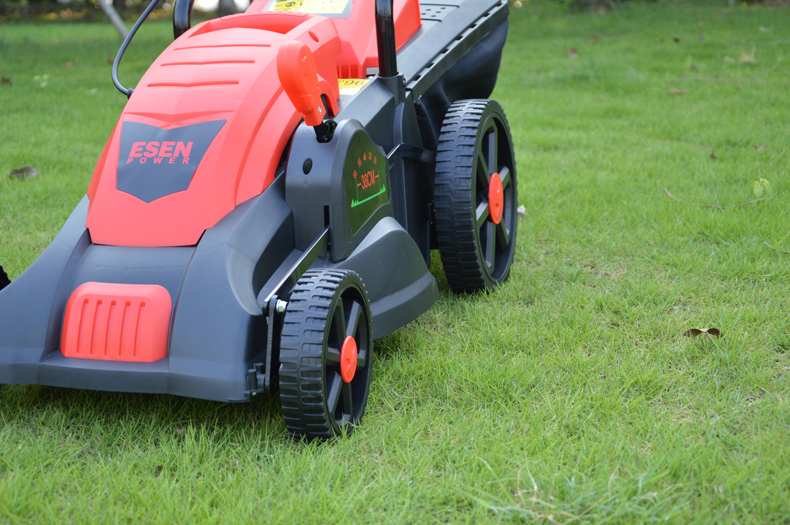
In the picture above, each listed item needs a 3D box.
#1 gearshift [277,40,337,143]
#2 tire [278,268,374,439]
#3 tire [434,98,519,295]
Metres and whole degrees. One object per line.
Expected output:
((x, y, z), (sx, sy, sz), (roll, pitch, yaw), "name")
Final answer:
((-0.279, -0.617, 3.083), (0.124, 0.371, 0.347), (8, 25, 19), "gearshift")
((-0.232, 0.308, 2.979), (0.262, 0.524, 0.381), (3, 23, 7), "tire")
((0.348, -0.281, 3.821), (0.185, 0.860, 0.711), (-4, -10, 29), "tire")
